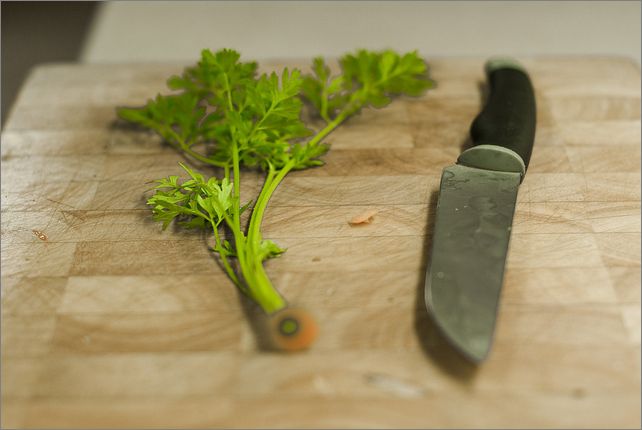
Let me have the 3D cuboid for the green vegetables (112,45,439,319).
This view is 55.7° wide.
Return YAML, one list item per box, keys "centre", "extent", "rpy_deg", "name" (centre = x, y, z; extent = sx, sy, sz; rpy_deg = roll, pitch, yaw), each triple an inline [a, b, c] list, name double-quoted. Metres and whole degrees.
- centre: [-0.078, -0.063, 1.954]
  extent: [0.831, 0.834, 0.633]
  rpy_deg: [10, 56, 7]
  name: "green vegetables"
